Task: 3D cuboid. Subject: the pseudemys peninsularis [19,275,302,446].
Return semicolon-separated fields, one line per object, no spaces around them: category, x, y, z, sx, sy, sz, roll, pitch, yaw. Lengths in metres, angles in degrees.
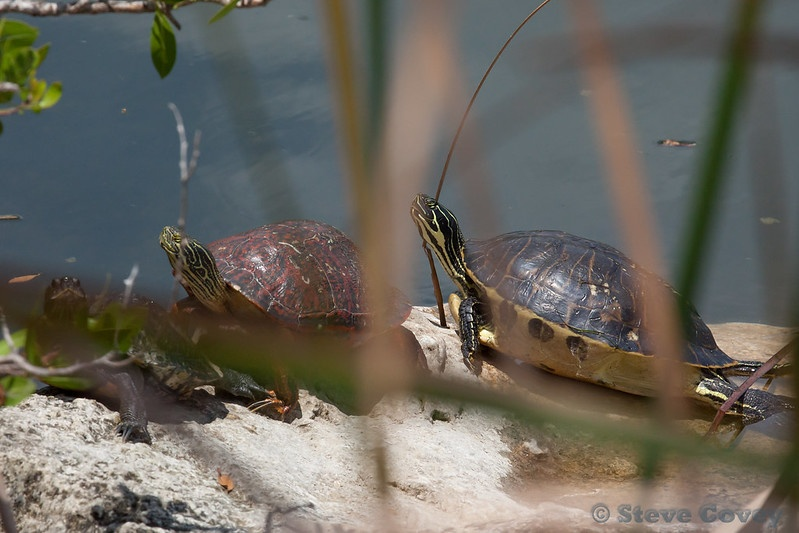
pseudemys peninsularis;-1.101;0.350;4.180;0.670;0.939;0.306;29;92;51
